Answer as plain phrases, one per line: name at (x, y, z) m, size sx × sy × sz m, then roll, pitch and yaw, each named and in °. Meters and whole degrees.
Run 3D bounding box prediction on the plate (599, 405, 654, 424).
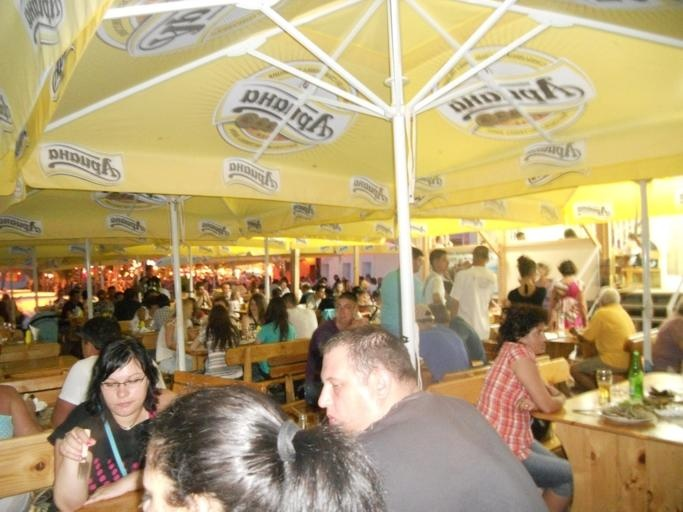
plate at (2.161, 1.204, 3.748) m, size 0.187 × 0.046 × 0.189 m, roll -1°, pitch 1°, yaw 13°
